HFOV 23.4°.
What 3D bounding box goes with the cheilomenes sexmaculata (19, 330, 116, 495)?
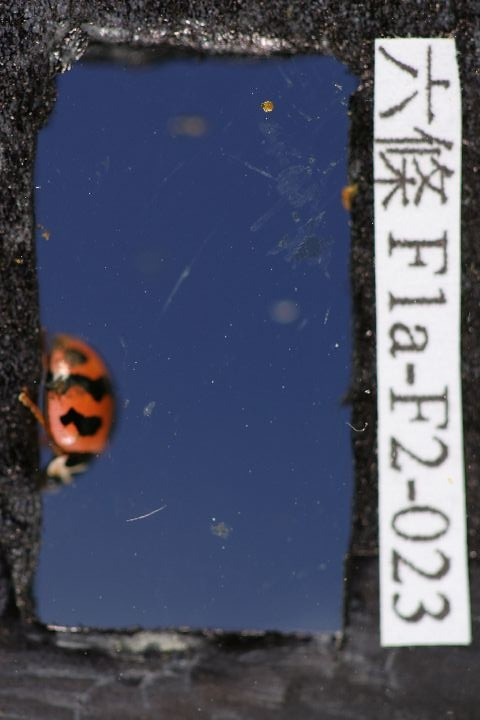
[{"bbox_3d":[-0.671,0.175,4.642,0.368,0.052,0.532,-25,87,-1],"label":"cheilomenes sexmaculata"}]
